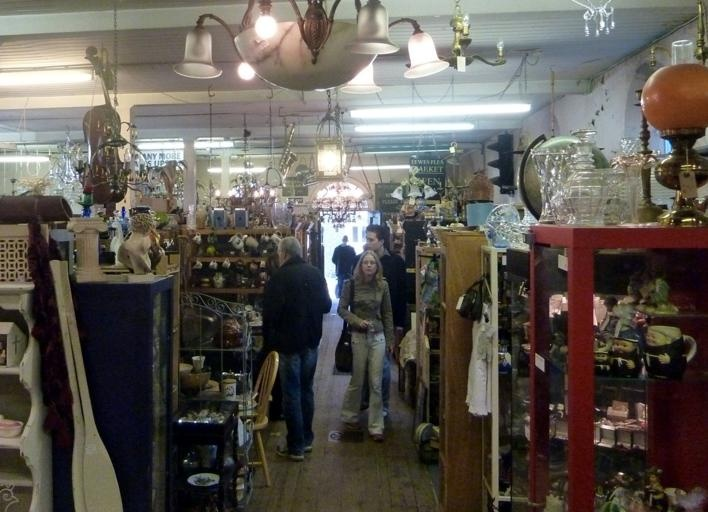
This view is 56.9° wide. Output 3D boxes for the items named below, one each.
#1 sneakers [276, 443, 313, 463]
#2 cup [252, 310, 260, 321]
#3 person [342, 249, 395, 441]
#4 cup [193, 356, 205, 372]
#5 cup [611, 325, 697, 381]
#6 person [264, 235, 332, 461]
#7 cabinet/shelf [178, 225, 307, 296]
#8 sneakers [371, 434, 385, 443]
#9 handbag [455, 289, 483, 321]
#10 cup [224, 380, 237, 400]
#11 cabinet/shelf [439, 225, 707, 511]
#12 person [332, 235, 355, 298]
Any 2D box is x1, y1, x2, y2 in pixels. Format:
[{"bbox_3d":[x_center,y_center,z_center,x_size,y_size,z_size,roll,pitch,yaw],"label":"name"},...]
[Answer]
[{"bbox_3d":[-0.568,1.848,6.153,0.313,0.151,0.133,10,7,14],"label":"sneakers"},{"bbox_3d":[-1.197,0.710,7.848,0.149,0.143,0.097,2,-4,-20],"label":"cup"},{"bbox_3d":[0.108,0.885,6.592,0.542,1.814,0.524,2,9,11],"label":"person"},{"bbox_3d":[-1.258,0.866,5.277,0.098,0.086,0.109,-1,-4,12],"label":"cup"},{"bbox_3d":[1.446,0.459,3.161,0.355,0.244,0.234,1,-3,-2],"label":"cup"},{"bbox_3d":[-0.563,0.857,6.161,0.428,1.983,0.590,5,11,29],"label":"person"},{"bbox_3d":[-1.472,0.288,8.945,1.549,1.490,0.556,-1,14,25],"label":"cabinet/shelf"},{"bbox_3d":[0.244,1.782,6.495,0.142,0.078,0.118,-1,10,-7],"label":"sneakers"},{"bbox_3d":[0.850,0.351,4.774,0.166,0.242,0.131,15,9,-19],"label":"handbag"},{"bbox_3d":[-1.005,1.069,5.258,0.135,0.133,0.101,4,-5,-33],"label":"cup"},{"bbox_3d":[1.208,0.603,3.308,0.565,1.561,0.673,-2,10,-14],"label":"cabinet/shelf"},{"bbox_3d":[-0.166,0.158,11.674,0.402,1.187,0.377,-2,20,-7],"label":"person"}]
